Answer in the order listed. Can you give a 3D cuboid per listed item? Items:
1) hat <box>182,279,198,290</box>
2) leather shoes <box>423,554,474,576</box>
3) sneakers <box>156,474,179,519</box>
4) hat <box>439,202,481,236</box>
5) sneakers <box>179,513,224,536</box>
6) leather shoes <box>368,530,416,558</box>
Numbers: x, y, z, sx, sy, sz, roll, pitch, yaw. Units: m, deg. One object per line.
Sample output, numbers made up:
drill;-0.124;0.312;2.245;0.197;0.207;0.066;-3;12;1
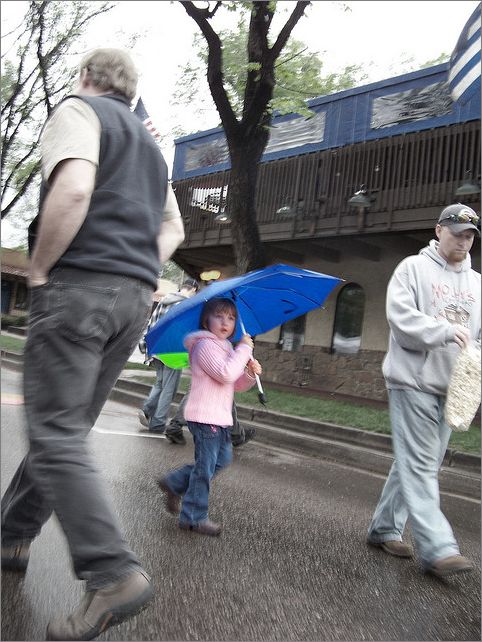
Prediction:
hat;-0.788;-0.555;6.109;0.154;0.185;0.198;6;6;7
leather shoes;1.075;1.285;2.118;0.260;0.100;0.095;-23;-20;30
sneakers;-0.528;1.247;2.892;0.186;0.289;0.083;-13;-4;-32
hat;1.437;-0.664;2.681;0.193;0.145;0.261;11;7;-10
sneakers;-0.249;1.308;2.599;0.297;0.116;0.098;3;3;-4
leather shoes;0.966;1.446;2.633;0.261;0.113;0.100;-4;-3;39
